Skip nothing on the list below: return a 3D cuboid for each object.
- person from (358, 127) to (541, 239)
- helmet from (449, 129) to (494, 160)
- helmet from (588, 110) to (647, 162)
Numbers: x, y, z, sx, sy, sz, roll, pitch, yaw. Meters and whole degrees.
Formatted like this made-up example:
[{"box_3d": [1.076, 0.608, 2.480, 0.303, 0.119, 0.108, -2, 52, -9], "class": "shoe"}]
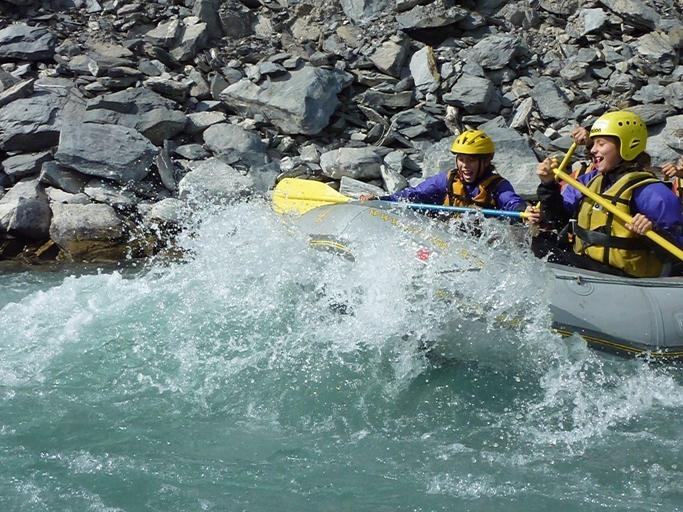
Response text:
[{"box_3d": [1.515, -0.907, 7.829, 0.853, 0.972, 2.571, -6, 12, -40], "class": "person"}, {"box_3d": [1.523, -1.273, 7.603, 0.457, 0.180, 0.315, -3, 12, -43], "class": "helmet"}, {"box_3d": [2.899, -1.265, 6.896, 0.638, 0.399, 0.430, -8, 14, 5], "class": "helmet"}]
